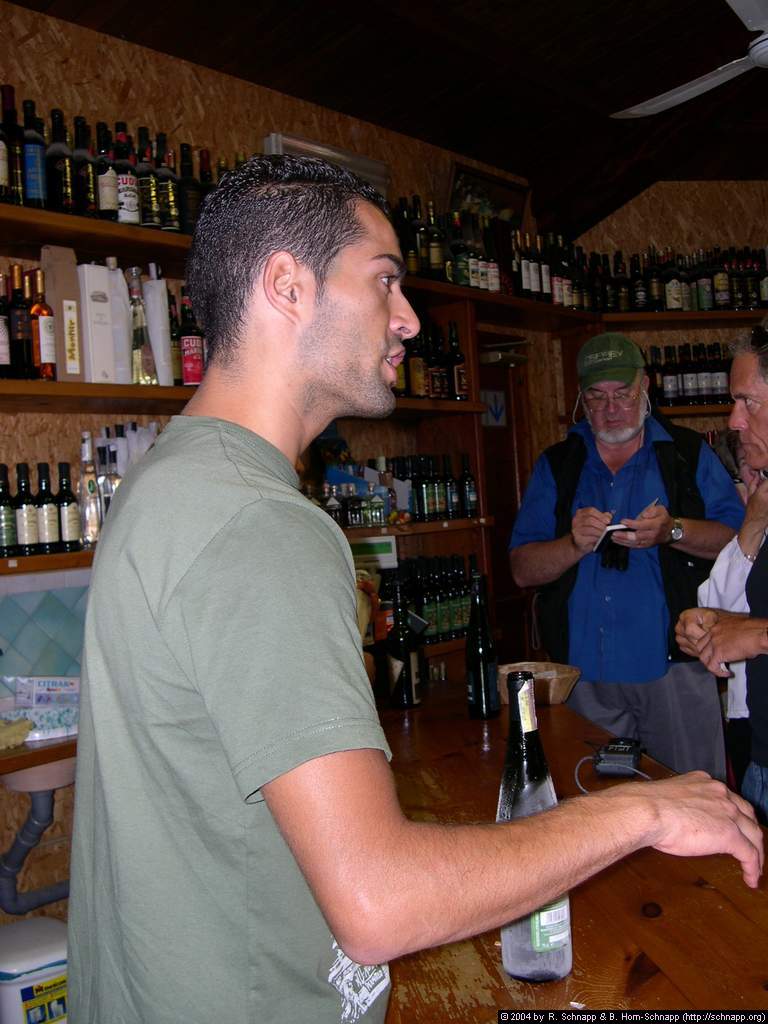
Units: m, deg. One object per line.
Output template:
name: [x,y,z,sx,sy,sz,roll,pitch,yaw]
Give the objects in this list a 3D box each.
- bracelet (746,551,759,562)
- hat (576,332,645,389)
bracelet: [0.967,0.115,2.193,0.031,0.029,0.008,2,14,28]
hat: [0.759,-0.515,2.805,0.170,0.113,0.228,-5,6,19]
